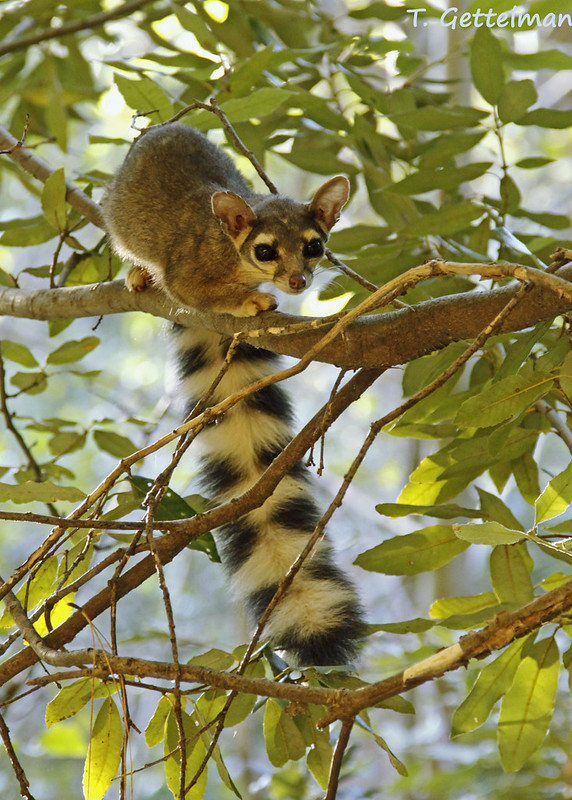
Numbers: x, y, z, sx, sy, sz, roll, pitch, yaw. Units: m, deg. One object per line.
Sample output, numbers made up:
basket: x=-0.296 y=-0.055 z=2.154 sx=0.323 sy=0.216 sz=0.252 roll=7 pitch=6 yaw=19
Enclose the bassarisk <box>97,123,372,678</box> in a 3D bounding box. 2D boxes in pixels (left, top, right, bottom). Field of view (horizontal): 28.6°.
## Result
bassarisk: x=-0.181 y=-0.120 z=3.853 sx=0.764 sy=1.926 sz=0.749 roll=-11 pitch=-1 yaw=-33
